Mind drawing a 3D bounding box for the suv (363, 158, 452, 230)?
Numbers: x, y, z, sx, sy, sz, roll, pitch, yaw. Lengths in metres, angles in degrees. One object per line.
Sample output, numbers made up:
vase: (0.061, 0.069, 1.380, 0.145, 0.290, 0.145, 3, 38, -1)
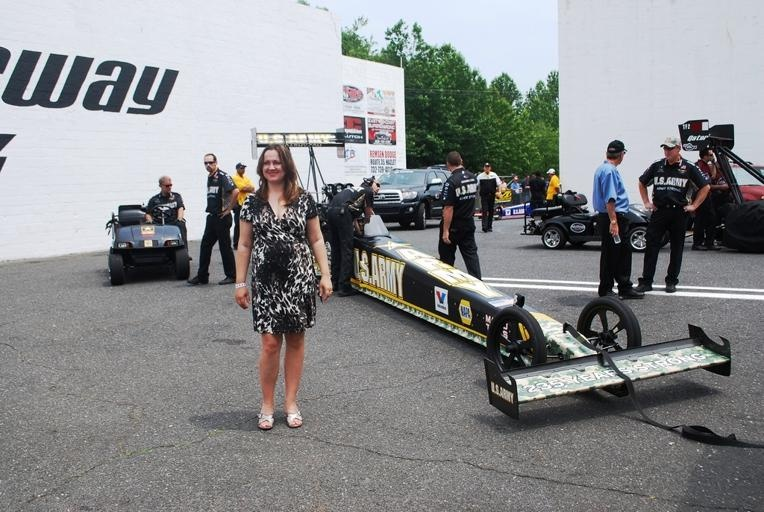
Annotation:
suv: (0.829, -2.452, 21.270, 2.834, 2.241, 5.323, 16, 11, 11)

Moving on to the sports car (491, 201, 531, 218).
sports car: (6.169, -2.095, 26.119, 2.142, 0.636, 1.403, -5, 11, -21)

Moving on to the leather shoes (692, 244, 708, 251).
leather shoes: (7.316, -0.188, 12.684, 0.365, 0.151, 0.122, 0, 13, 7)

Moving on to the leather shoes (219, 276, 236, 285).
leather shoes: (-2.897, 0.471, 10.412, 0.126, 0.145, 0.347, 0, -2, 42)

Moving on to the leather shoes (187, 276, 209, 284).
leather shoes: (-3.503, 0.459, 10.451, 0.417, 0.188, 0.153, 4, -2, -20)

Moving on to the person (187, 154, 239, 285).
person: (-3.126, -0.633, 10.200, 0.914, 2.424, 0.800, 8, 16, 41)

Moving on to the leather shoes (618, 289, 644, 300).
leather shoes: (3.776, 0.594, 8.318, 0.400, 0.178, 0.148, -3, 12, 2)

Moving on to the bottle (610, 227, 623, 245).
bottle: (3.348, -0.262, 7.836, 0.102, 0.189, 0.043, -11, 15, 8)

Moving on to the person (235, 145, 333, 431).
person: (-0.853, 0.261, 4.784, 0.815, 2.396, 0.567, -5, 12, -16)
